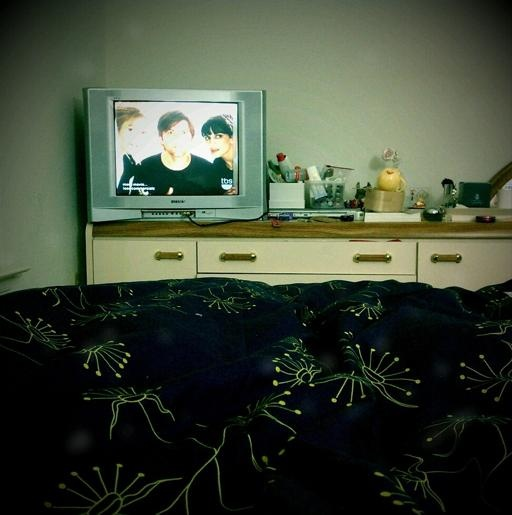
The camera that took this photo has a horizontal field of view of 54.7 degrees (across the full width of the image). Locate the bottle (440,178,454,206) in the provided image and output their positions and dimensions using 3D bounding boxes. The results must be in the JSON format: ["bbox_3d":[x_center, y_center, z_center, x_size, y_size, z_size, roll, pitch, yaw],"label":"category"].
[{"bbox_3d":[0.955,-0.322,2.441,0.066,0.133,0.150,2,11,21],"label":"bottle"}]

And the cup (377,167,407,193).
[{"bbox_3d":[0.644,-0.355,2.338,0.136,0.125,0.106,8,27,21],"label":"cup"}]

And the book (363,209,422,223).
[{"bbox_3d":[0.600,-0.182,2.168,0.275,0.040,0.170,-2,10,-3],"label":"book"}]

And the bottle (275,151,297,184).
[{"bbox_3d":[0.148,-0.439,2.414,0.082,0.138,0.225,-1,10,4],"label":"bottle"}]
